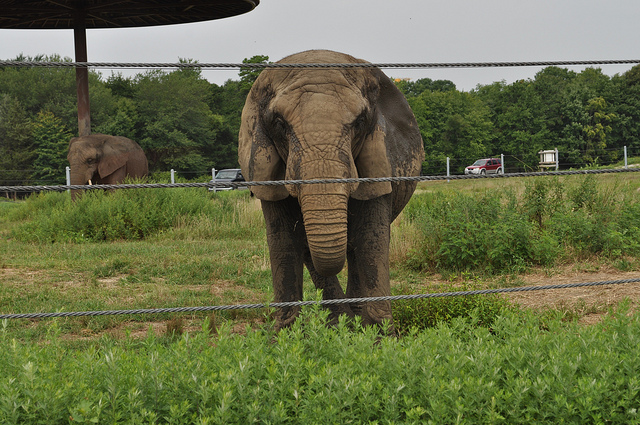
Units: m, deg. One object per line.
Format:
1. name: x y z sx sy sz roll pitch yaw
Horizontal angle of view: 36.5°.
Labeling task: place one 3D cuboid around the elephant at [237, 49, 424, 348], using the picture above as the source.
1. elephant: 0.115 -0.391 20.183 3.578 5.886 1.733 2 6 -1
